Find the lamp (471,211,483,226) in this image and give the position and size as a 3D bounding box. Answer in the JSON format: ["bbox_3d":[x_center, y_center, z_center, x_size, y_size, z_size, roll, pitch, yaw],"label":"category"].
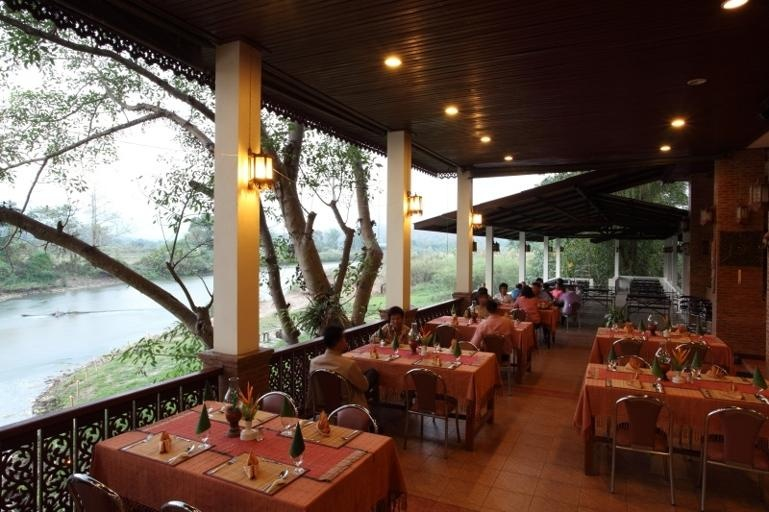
[{"bbox_3d":[2.387,-0.982,12.862,0.200,0.370,0.284,6,8,20],"label":"lamp"}]

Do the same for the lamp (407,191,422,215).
[{"bbox_3d":[0.600,-1.084,9.890,0.392,0.552,0.395,0,1,-1],"label":"lamp"}]

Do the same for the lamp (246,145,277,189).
[{"bbox_3d":[-1.618,-1.159,6.422,0.443,0.597,0.450,0,0,0],"label":"lamp"}]

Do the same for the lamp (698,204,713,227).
[{"bbox_3d":[7.830,-0.997,11.939,0.279,0.399,1.373,8,9,33],"label":"lamp"}]

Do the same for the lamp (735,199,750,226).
[{"bbox_3d":[7.816,-0.930,10.741,0.241,0.469,0.417,8,9,34],"label":"lamp"}]

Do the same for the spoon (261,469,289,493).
[{"bbox_3d":[-1.008,2.155,4.689,0.120,0.093,0.292,9,9,37],"label":"spoon"}]

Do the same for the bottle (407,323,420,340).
[{"bbox_3d":[0.487,1.248,8.107,0.210,0.288,0.207,-1,1,0],"label":"bottle"}]
